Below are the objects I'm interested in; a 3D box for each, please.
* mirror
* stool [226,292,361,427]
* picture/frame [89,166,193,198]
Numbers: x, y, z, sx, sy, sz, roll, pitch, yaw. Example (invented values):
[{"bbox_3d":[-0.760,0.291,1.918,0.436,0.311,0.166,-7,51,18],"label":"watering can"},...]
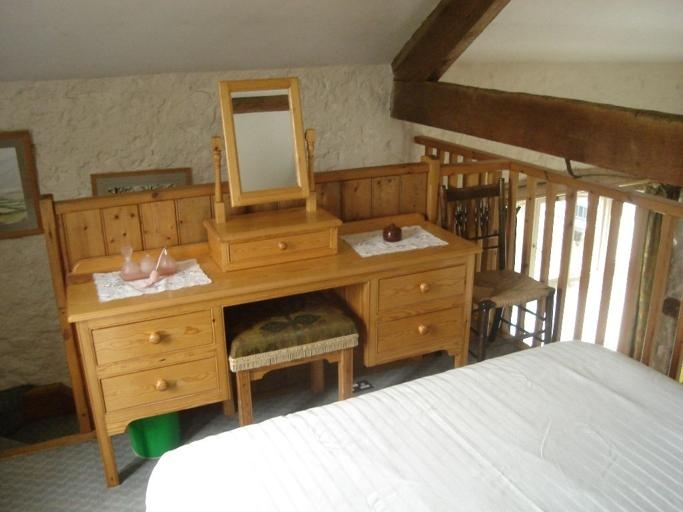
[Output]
[{"bbox_3d":[-0.365,-0.548,2.557,0.420,0.577,0.164,-9,20,-13],"label":"mirror"},{"bbox_3d":[-0.242,0.476,2.538,0.693,0.531,0.497,-11,32,-20],"label":"stool"},{"bbox_3d":[-1.206,-0.461,3.263,0.578,0.126,0.098,-10,18,-25],"label":"picture/frame"}]
